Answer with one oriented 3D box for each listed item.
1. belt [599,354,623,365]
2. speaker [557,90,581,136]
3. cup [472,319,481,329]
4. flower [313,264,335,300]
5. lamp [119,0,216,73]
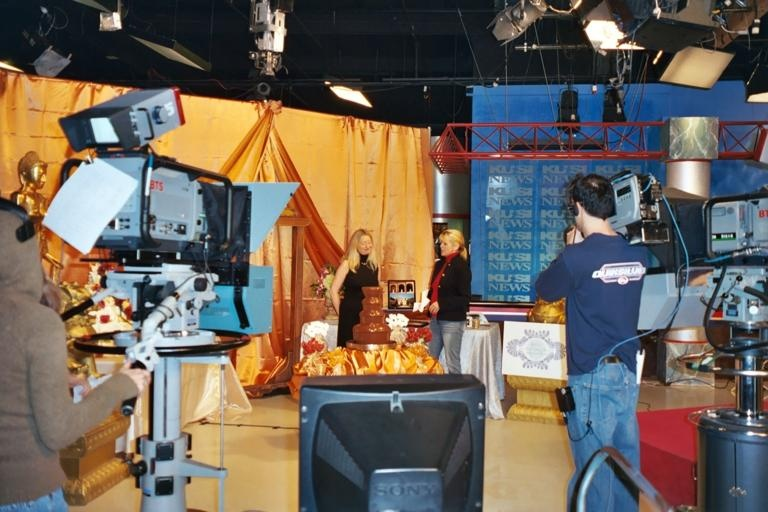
[{"bbox_3d":[1.696,0.752,6.734,0.107,0.046,0.072,-3,0,-10],"label":"belt"},{"bbox_3d":[2.562,-2.021,12.477,0.354,0.717,0.158,1,-1,23],"label":"speaker"},{"bbox_3d":[1.011,0.711,9.769,0.066,0.089,0.091,2,-8,5],"label":"cup"},{"bbox_3d":[-0.699,0.278,10.660,0.271,0.313,0.358,15,20,-6],"label":"flower"},{"bbox_3d":[-2.552,-2.459,10.623,0.729,0.225,0.803,24,-9,-40],"label":"lamp"}]
